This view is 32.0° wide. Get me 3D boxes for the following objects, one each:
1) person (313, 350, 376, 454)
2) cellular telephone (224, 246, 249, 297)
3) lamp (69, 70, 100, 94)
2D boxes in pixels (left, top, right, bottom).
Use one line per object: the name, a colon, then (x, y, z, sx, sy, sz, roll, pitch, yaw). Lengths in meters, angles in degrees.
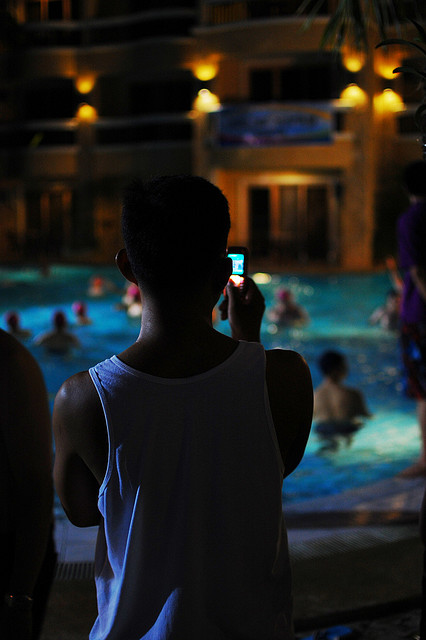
person: (0.814, 0.482, 4.739, 0.342, 0.566, 0.781, 2, 5, 12)
cellular telephone: (0.040, -0.084, 1.344, 0.040, 0.101, 0.010, 1, 16, 3)
lamp: (-0.620, -1.152, 3.599, 0.150, 0.129, 0.166, 0, 8, -1)
